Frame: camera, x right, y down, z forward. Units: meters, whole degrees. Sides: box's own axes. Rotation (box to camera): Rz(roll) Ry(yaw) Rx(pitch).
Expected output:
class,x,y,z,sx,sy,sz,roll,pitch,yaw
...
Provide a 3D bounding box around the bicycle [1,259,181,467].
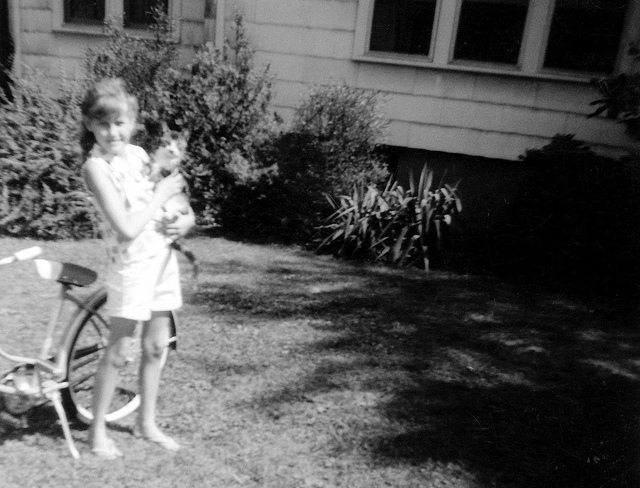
class,x,y,z,sx,sy,sz,roll,pitch,yaw
bicycle,-1.468,0.707,3.547,0.703,1.722,0.530,2,4,9

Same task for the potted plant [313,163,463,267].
class,x,y,z,sx,sy,sz,roll,pitch,yaw
potted plant,0.607,-0.343,5.167,0.993,0.677,0.998,7,7,35
